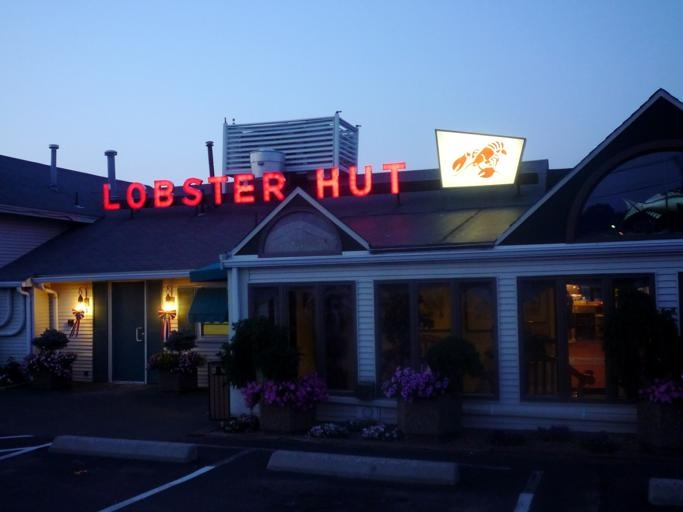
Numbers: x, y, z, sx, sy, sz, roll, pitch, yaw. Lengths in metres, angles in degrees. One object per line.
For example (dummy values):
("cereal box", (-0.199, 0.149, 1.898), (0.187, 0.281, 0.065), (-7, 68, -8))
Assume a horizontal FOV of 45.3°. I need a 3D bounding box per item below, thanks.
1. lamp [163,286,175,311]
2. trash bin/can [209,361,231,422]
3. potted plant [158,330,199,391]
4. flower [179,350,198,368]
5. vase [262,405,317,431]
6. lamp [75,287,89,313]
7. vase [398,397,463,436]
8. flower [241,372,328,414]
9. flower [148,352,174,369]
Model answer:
("lamp", (-4.967, 1.206, 23.428), (0.426, 0.721, 0.183), (-5, -9, 30))
("trash bin/can", (-2.605, 2.900, 17.446), (0.438, 1.235, 0.412), (1, -8, -11))
("potted plant", (-4.423, 2.900, 22.610), (1.370, 2.001, 1.356), (0, -6, 3))
("flower", (-4.107, 2.754, 22.095), (0.396, 0.381, 0.417), (-2, 3, 7))
("vase", (-1.100, 3.271, 16.498), (0.644, 0.423, 0.655), (3, -7, -28))
("lamp", (-7.808, 1.308, 24.565), (0.482, 0.776, 0.210), (-1, -8, 3))
("vase", (1.683, 3.073, 15.826), (0.825, 0.552, 0.860), (0, -4, 8))
("flower", (-1.026, 2.750, 16.473), (0.995, 0.477, 0.908), (0, -2, -43))
("flower", (-4.857, 2.828, 22.173), (0.477, 0.389, 0.558), (1, -7, -9))
